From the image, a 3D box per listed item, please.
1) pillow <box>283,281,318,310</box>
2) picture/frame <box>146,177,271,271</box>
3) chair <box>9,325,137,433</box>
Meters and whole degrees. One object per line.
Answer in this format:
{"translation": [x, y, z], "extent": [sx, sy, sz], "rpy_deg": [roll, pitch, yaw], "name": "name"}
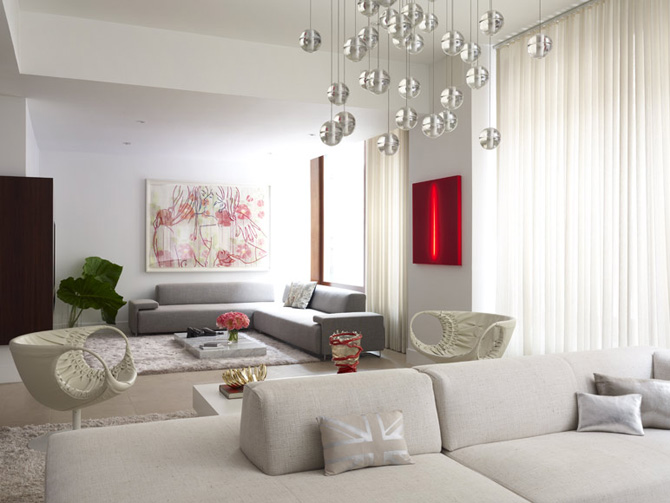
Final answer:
{"translation": [-0.565, 0.717, 8.123], "extent": [0.151, 0.459, 0.470], "rpy_deg": [32, -18, -36], "name": "pillow"}
{"translation": [-2.438, -0.513, 8.924], "extent": [1.719, 1.268, 0.056], "rpy_deg": [1, -2, -26], "name": "picture/frame"}
{"translation": [-1.883, 1.005, 3.497], "extent": [0.746, 0.819, 0.775], "rpy_deg": [1, 4, -16], "name": "chair"}
